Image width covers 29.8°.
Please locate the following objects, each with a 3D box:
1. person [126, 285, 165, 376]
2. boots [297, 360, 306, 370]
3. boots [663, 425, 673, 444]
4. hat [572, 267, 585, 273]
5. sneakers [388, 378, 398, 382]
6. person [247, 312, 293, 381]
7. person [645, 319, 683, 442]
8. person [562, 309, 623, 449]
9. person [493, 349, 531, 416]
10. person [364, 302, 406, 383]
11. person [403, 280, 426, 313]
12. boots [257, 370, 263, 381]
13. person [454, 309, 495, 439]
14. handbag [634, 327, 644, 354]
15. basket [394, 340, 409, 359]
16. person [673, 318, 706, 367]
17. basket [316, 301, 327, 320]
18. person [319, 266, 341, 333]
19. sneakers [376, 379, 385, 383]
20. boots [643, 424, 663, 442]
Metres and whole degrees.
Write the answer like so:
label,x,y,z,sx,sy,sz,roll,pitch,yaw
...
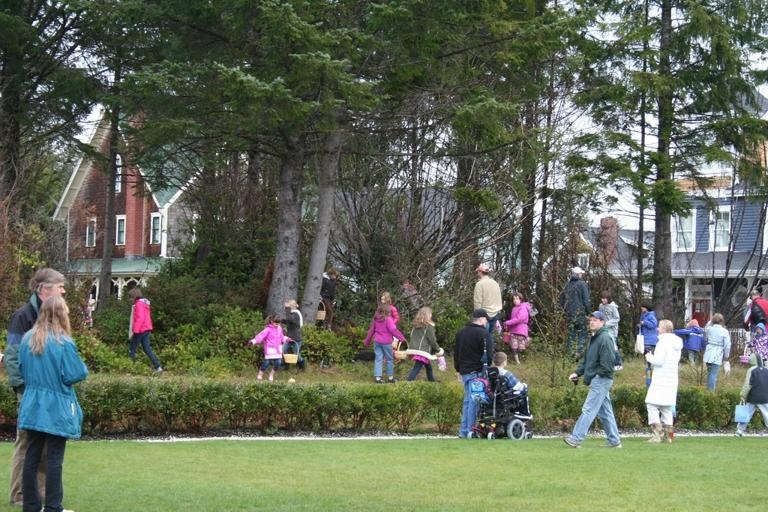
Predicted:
label,x,y,z,sx,sy,sz,roll,pitch,yaw
person,-6.925,2.073,41.392,0.765,2.373,1.490,6,-6,-41
boots,-2.415,3.184,42.009,0.243,0.365,0.190,-3,10,14
boots,7.423,4.646,37.464,0.305,0.516,0.326,1,-14,3
hat,5.747,0.507,42.352,0.253,0.173,0.338,9,19,38
sneakers,0.245,3.529,40.788,0.113,0.143,0.318,3,-9,-12
person,-3.263,2.603,40.954,0.971,1.827,1.595,2,-5,5
person,7.335,3.259,37.689,0.876,3.172,1.190,1,-5,11
person,5.429,3.149,36.595,1.255,3.405,0.938,1,-5,9
person,3.346,3.451,37.754,0.894,1.913,0.844,-12,15,-26
person,0.002,2.465,40.835,1.034,2.180,0.969,2,-5,0
person,0.896,1.296,45.900,0.365,1.001,0.669,-31,-5,17
boots,-3.456,3.349,40.300,0.120,0.324,0.199,9,-42,-3
person,2.388,3.153,38.010,1.098,3.446,1.049,-2,-8,43
handbag,7.670,2.538,42.916,0.235,0.649,0.714,1,-5,12
basket,0.520,2.762,42.283,0.494,0.635,0.517,-1,-5,-12
person,9.294,2.689,43.691,1.385,1.578,0.524,0,-3,-4
basket,-1.897,1.725,44.362,0.414,0.612,0.451,4,-10,-19
person,-1.700,1.348,44.565,0.498,1.896,0.882,0,-14,9
sneakers,-0.121,3.512,40.313,0.128,0.098,0.129,-1,-8,12
boots,7.048,4.610,37.582,0.387,0.680,0.453,-2,-1,-1
